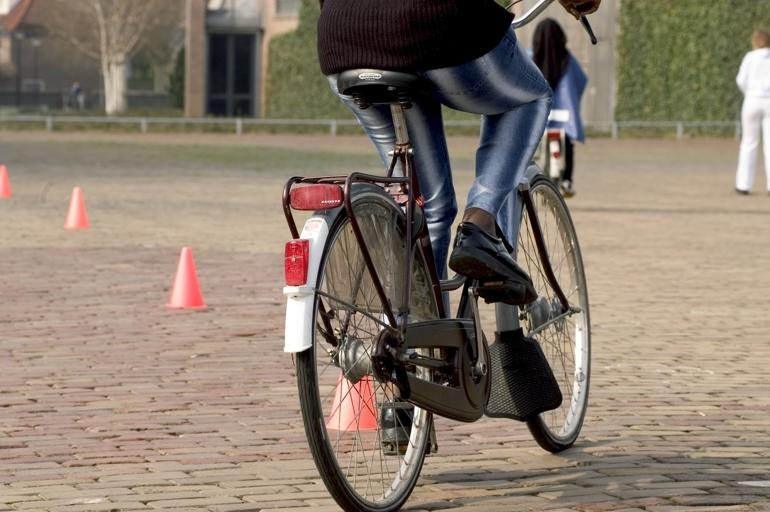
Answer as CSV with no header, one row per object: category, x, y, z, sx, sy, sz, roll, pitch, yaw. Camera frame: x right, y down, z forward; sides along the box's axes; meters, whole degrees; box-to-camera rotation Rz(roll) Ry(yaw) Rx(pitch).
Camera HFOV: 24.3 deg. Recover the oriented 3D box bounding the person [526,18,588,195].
person,2.561,-2.091,25.174,1.290,2.498,0.987,1,-2,1
